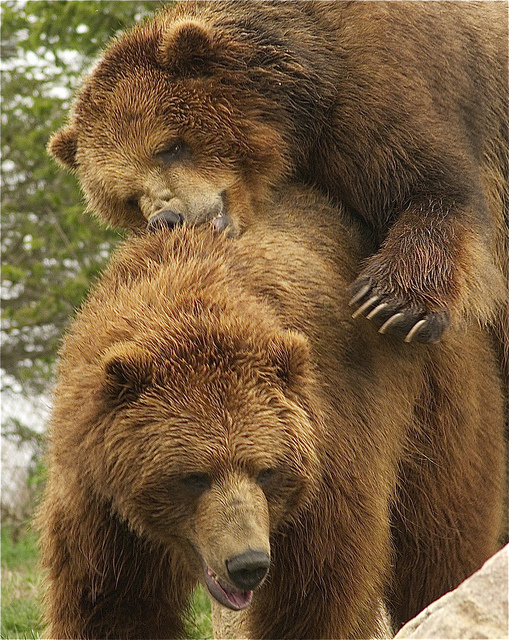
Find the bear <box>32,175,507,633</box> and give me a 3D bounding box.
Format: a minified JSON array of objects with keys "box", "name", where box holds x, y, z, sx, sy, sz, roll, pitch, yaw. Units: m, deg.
[{"box":[0.067,0.447,3.411,0.937,1.707,1.496,7,15,40],"name":"bear"}]
